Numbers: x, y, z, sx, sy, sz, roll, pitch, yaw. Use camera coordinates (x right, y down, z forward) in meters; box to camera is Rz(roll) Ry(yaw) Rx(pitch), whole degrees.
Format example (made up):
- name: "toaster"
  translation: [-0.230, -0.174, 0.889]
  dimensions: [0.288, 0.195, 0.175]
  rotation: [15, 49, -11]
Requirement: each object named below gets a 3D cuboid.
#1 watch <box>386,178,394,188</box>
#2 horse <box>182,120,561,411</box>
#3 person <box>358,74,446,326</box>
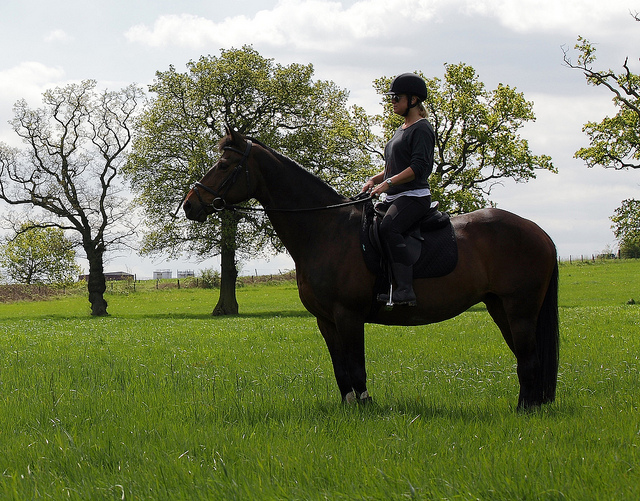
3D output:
- name: "watch"
  translation: [0.930, -0.906, 9.130]
  dimensions: [0.067, 0.111, 0.107]
  rotation: [-27, -21, -23]
- name: "horse"
  translation: [0.925, 0.350, 9.848]
  dimensions: [5.481, 4.196, 1.643]
  rotation: [0, 3, -8]
- name: "person"
  translation: [1.138, -0.681, 9.452]
  dimensions: [1.017, 3.393, 0.803]
  rotation: [-2, 0, -24]
